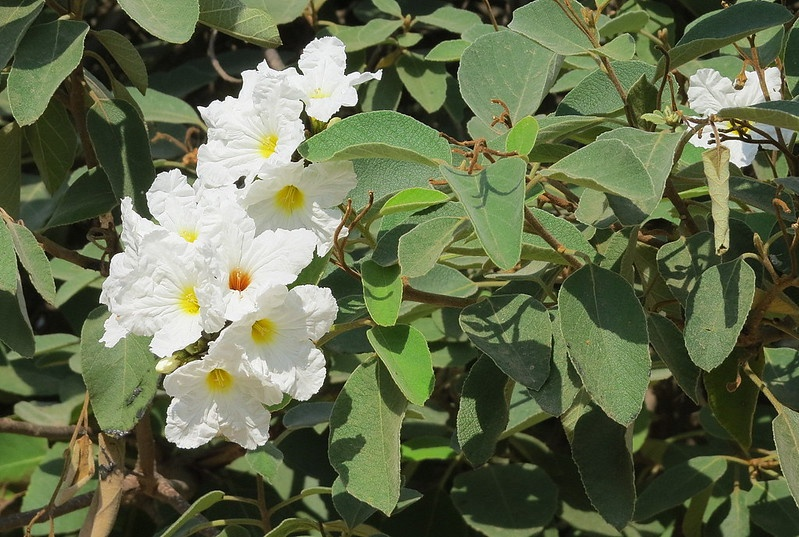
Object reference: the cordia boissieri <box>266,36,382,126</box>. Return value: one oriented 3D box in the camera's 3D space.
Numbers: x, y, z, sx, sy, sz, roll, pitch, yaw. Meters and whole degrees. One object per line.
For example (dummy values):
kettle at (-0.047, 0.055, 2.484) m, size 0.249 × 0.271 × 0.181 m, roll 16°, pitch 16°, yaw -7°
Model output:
cordia boissieri at (-0.167, -0.432, 1.868) m, size 0.218 × 0.095 × 0.199 m, roll -9°, pitch 52°, yaw -3°

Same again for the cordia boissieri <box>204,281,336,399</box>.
cordia boissieri at (-0.293, 0.123, 1.752) m, size 0.219 × 0.162 × 0.071 m, roll 33°, pitch 30°, yaw -54°
